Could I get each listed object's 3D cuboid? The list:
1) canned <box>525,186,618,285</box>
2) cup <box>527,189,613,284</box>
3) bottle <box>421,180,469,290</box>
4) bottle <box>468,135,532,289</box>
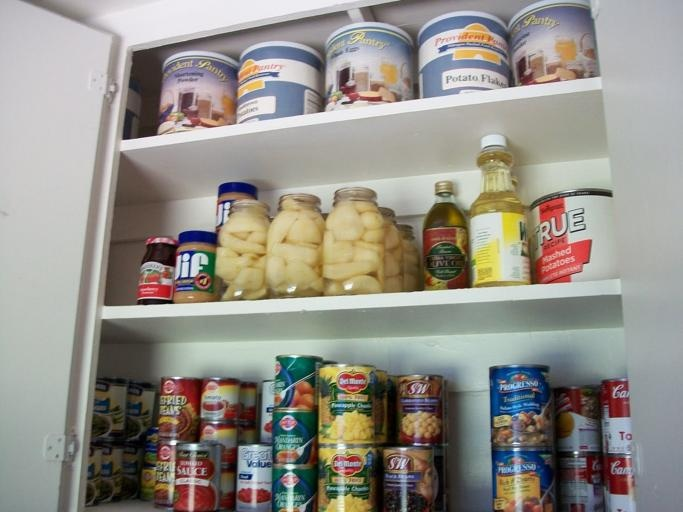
[{"bbox_3d":[0.407,-0.023,1.046,0.181,0.177,0.170,1,-14,-7],"label":"canned"},{"bbox_3d":[0.397,-0.024,1.091,0.180,0.177,0.168,0,-13,0],"label":"cup"},{"bbox_3d":[0.207,-0.025,1.118,0.090,0.192,0.048,-3,-16,10],"label":"bottle"},{"bbox_3d":[0.297,-0.092,1.088,0.110,0.323,0.082,-4,-16,12],"label":"bottle"}]
